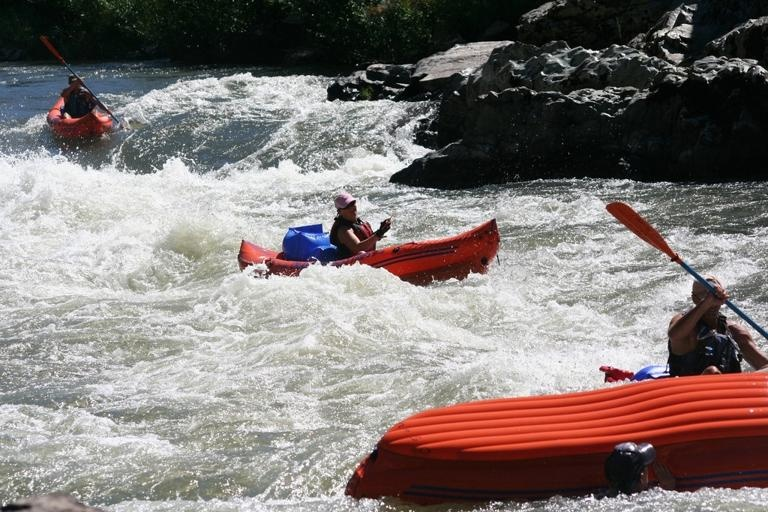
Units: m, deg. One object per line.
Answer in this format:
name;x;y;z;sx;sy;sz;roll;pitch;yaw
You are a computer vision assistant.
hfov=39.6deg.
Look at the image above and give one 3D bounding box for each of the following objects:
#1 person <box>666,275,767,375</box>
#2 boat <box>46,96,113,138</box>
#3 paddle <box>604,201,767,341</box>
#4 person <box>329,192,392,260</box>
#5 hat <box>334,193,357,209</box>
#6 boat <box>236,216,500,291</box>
person;4.395;1.056;14.784;1.257;1.259;0.554;-13;21;-3
boat;-7.630;-3.336;27.163;1.688;0.676;1.198;2;24;32
paddle;4.704;0.302;17.112;3.532;0.407;0.142;43;18;28
person;-0.397;-0.512;19.381;0.733;1.244;0.676;-20;32;11
hat;-0.661;-1.001;18.726;0.308;0.233;0.617;-13;20;-3
boat;0.028;-0.039;18.476;3.392;0.946;1.669;-7;3;18
